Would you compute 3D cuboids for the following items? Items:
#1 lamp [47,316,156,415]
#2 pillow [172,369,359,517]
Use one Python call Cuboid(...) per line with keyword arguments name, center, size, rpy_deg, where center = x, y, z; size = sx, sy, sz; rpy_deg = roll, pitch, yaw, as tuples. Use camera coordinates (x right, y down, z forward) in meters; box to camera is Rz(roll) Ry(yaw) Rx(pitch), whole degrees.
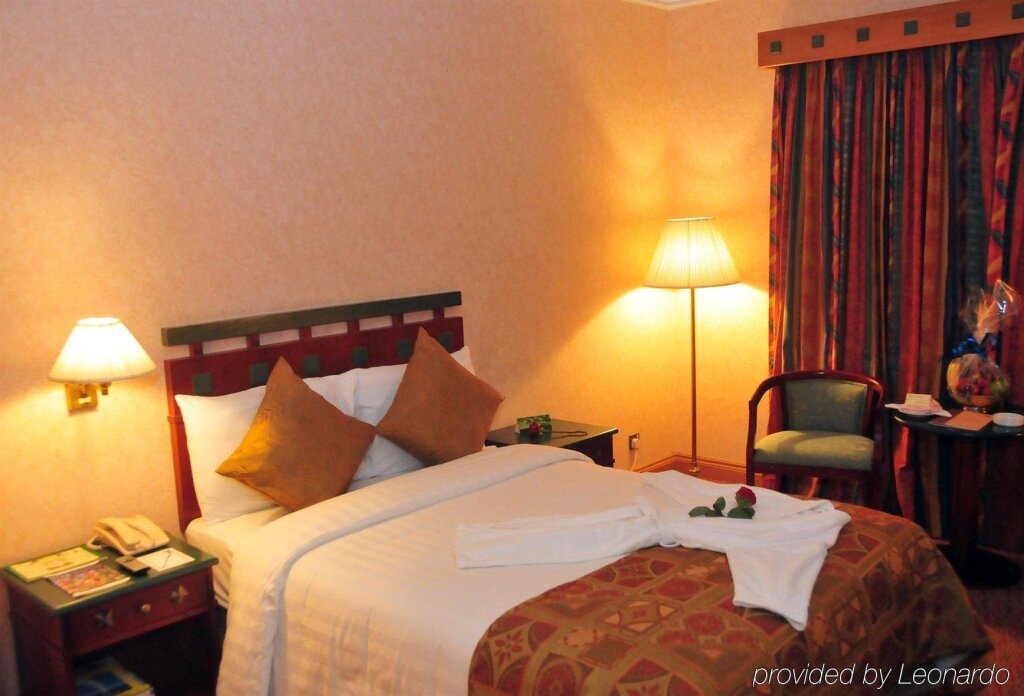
Cuboid(name="lamp", center=(-1.952, 0.095, 3.889), size=(0.383, 0.457, 0.355), rpy_deg=(2, 9, 34))
Cuboid(name="pillow", center=(-1.464, 0.481, 4.198), size=(0.745, 0.728, 0.220), rpy_deg=(-8, 4, -35))
